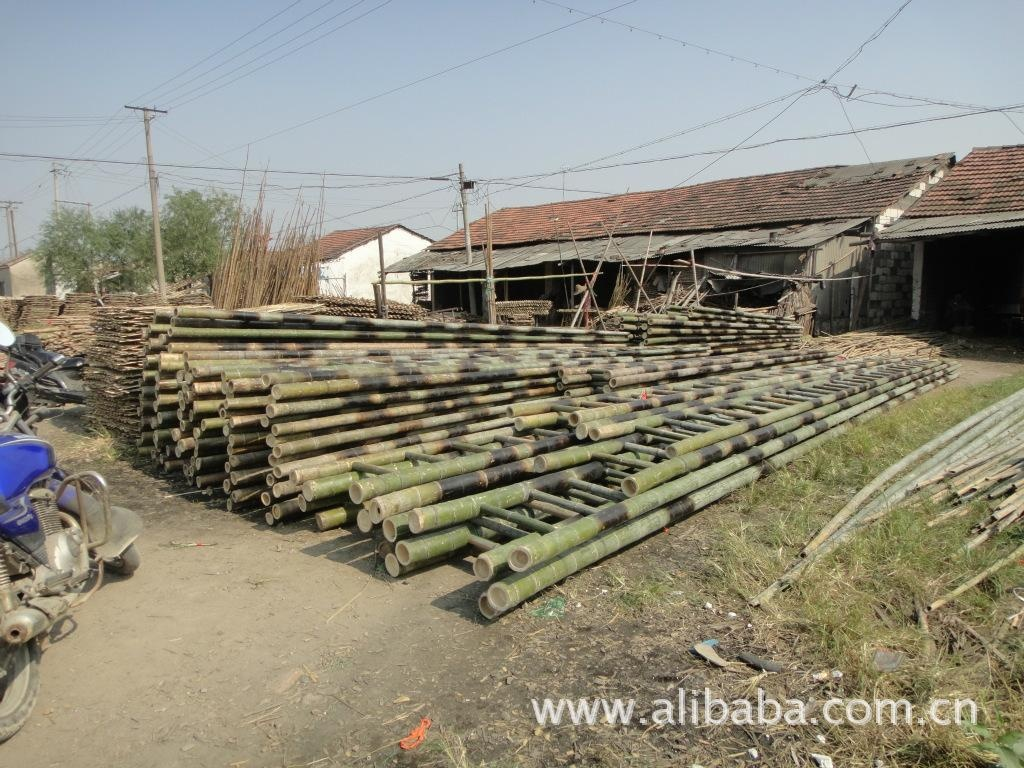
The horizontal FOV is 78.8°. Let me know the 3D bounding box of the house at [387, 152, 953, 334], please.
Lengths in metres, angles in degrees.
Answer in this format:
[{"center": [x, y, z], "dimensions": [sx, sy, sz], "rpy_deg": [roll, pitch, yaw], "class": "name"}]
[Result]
[{"center": [3.524, -3.988, 17.880], "dimensions": [12.507, 3.057, 8.489], "rpy_deg": [7, 25, 29], "class": "house"}]
